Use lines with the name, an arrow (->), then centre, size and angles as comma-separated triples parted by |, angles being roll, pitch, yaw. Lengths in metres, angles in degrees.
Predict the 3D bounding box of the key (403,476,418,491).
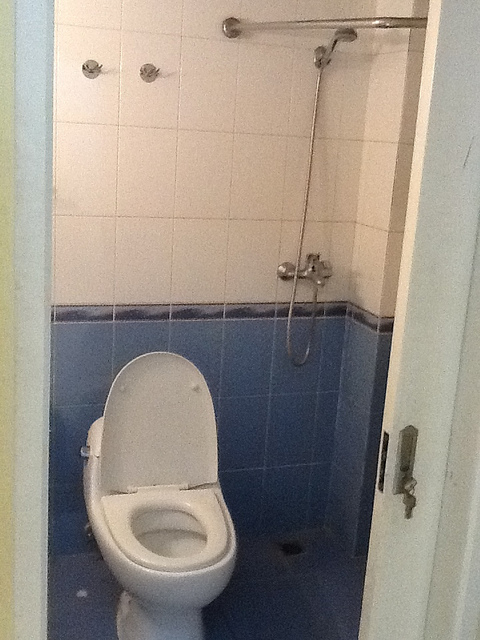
key -> 0.256, 0.246, 1.115 | 0.018, 0.022, 0.006 | -1, -2, -26

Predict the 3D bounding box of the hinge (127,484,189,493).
hinge -> -0.251, 0.530, 2.328 | 0.198, 0.025, 0.014 | -1, 13, -21

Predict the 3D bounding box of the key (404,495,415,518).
key -> 0.254, 0.282, 1.116 | 0.018, 0.039, 0.010 | 1, 12, -12
